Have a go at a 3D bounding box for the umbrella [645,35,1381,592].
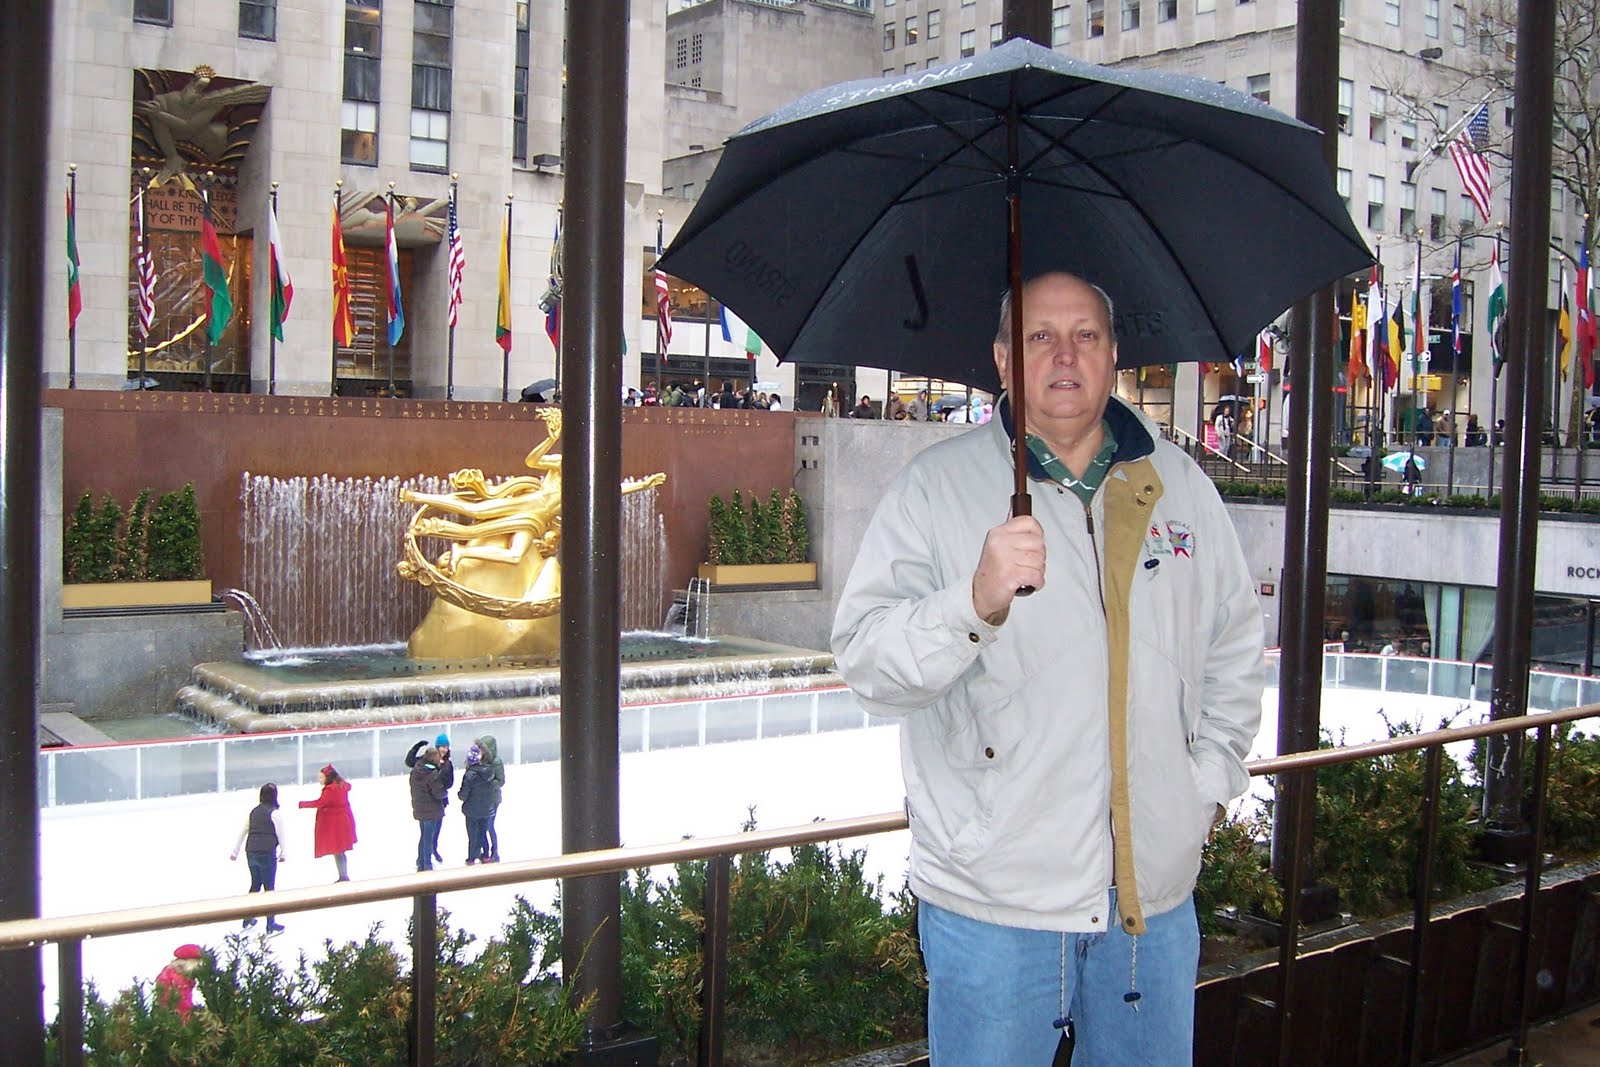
[{"bbox_3d":[0.940,-1.407,7.993,2.395,1.837,2.590,-12,-37,32],"label":"umbrella"}]
